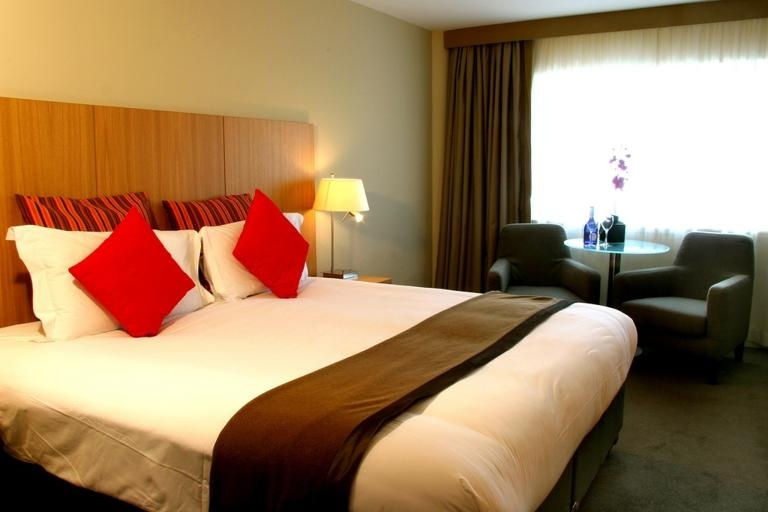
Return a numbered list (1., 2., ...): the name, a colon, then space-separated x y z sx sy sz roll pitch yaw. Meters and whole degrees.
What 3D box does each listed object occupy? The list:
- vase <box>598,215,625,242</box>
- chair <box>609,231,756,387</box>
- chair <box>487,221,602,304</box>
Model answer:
1. vase: 2.149 -0.236 5.488 0.258 0.283 0.257 8 18 32
2. chair: 2.729 0.376 5.326 1.280 1.420 1.083 -3 5 -41
3. chair: 1.608 0.057 5.672 0.800 1.081 0.904 0 -3 -2
